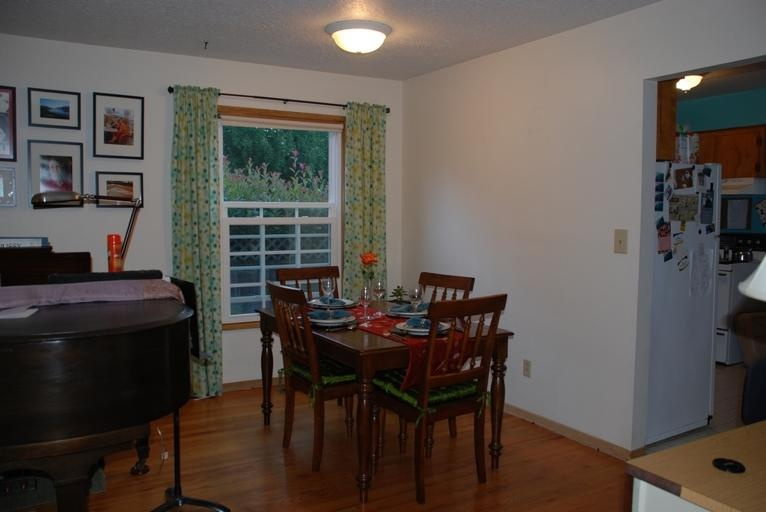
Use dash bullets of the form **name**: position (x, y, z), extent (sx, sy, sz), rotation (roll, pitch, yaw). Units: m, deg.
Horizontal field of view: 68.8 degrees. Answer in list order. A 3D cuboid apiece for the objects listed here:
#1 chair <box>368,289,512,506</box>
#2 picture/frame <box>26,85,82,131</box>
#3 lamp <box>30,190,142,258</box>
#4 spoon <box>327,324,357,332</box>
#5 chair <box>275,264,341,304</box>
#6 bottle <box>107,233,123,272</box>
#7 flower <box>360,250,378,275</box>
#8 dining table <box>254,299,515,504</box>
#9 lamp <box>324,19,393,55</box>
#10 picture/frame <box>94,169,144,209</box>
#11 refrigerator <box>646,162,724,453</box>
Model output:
- **chair**: position (0.375, 0.907, 3.839), extent (0.949, 1.367, 0.464), rotation (-5, 12, -24)
- **picture/frame**: position (-2.869, -1.280, 4.824), extent (0.418, 0.349, 0.039), rotation (-3, 9, -26)
- **lamp**: position (-2.268, -0.201, 4.441), extent (0.642, 0.699, 1.313), rotation (-4, 12, -21)
- **spoon**: position (-0.306, 0.512, 3.989), extent (0.206, 0.036, 0.042), rotation (-1, 9, -33)
- **chair**: position (-0.679, 0.177, 5.041), extent (0.452, 0.628, 0.418), rotation (-3, 4, -33)
- **bottle**: position (-2.107, -0.019, 4.366), extent (0.088, 0.280, 0.170), rotation (-2, 11, -13)
- **flower**: position (-0.141, 0.064, 5.567), extent (0.221, 0.220, 0.222), rotation (4, 5, 16)
- **dining table**: position (0.023, 0.707, 4.298), extent (1.305, 1.030, 1.679), rotation (1, 2, -36)
- **lamp**: position (-0.196, -1.760, 4.507), extent (0.542, 0.210, 0.243), rotation (-1, 11, -5)
- **picture/frame**: position (-2.357, -0.586, 4.935), extent (0.407, 0.340, 0.040), rotation (0, -2, -21)
- **refrigerator**: position (2.398, 0.345, 4.456), extent (1.055, 2.159, 0.397), rotation (-9, 15, -40)
